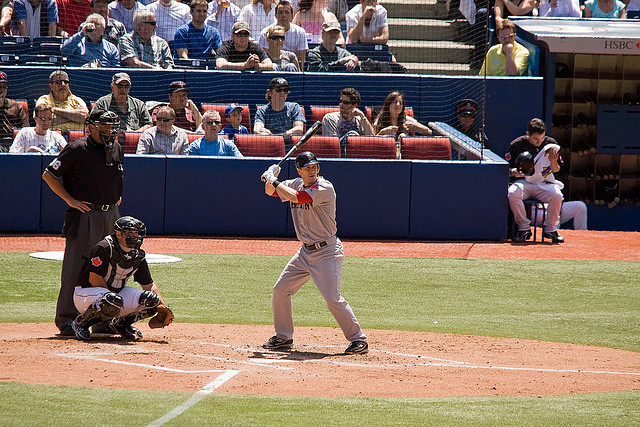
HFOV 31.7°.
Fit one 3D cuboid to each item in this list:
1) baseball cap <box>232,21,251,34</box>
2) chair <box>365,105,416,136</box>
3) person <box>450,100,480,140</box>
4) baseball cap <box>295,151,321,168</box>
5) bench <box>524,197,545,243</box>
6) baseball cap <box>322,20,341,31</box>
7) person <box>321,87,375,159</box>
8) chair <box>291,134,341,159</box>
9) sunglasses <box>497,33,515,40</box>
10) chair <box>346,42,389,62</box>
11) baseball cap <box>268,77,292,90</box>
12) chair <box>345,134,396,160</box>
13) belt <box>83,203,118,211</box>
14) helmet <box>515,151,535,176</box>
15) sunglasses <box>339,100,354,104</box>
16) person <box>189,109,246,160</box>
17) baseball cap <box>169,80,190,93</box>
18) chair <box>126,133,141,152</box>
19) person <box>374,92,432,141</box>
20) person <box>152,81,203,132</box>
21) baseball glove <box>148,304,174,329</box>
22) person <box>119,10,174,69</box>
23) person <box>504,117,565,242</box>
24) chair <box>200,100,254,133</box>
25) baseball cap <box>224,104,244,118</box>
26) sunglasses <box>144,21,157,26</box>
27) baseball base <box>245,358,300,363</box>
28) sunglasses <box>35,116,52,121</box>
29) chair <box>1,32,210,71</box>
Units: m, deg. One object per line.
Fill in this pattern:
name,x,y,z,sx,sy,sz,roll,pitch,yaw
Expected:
baseball cap,-1.554,-3.625,22.014,0.316,0.254,0.406,0,5,-10
chair,1.336,-1.848,21.593,0.928,0.603,0.830,2,-19,0
person,2.725,-1.859,21.988,0.690,0.830,0.748,-2,8,-7
baseball cap,-0.190,-0.716,15.194,0.269,0.201,0.286,0,5,-2
bench,3.886,0.114,20.714,0.493,0.753,0.425,2,2,13
baseball cap,0.212,-3.678,22.091,0.340,0.212,0.402,0,5,-6
person,0.578,-1.543,21.057,0.776,1.425,1.162,-3,2,-35
chair,-0.071,-1.158,19.581,0.867,0.439,0.541,1,-30,-4
sunglasses,3.733,-3.546,22.573,0.287,0.123,0.133,1,5,3
chair,0.975,-3.272,22.777,0.966,0.567,0.379,2,8,-1
baseball cap,-0.776,-2.416,21.059,0.351,0.206,0.291,0,5,-3
chair,0.975,-1.268,21.167,0.896,0.541,0.500,1,2,36
belt,-3.004,-0.088,15.404,0.435,0.109,0.058,-2,6,-32
helmet,3.724,-0.902,20.478,0.329,0.444,0.297,1,5,9
sunglasses,0.469,-2.063,20.873,0.277,0.070,0.099,3,5,27
person,-1.955,-1.389,20.671,1.363,0.866,0.567,-1,-7,-25
baseball cap,-2.667,-2.363,20.883,0.331,0.148,0.232,-14,-3,35
chair,-3.425,-1.295,20.646,0.315,0.258,0.260,2,-4,-11
person,1.516,-1.831,21.439,0.819,0.990,0.597,-18,23,-39
person,-2.608,-1.984,20.984,0.744,0.934,1.746,1,5,11
baseball glove,-2.158,1.393,15.227,0.301,0.339,0.319,0,5,-8
person,-3.368,-3.255,21.941,1.194,1.304,0.964,8,17,2
person,3.913,-0.596,20.600,0.988,2.209,0.528,1,5,4
chair,-1.816,-1.913,21.369,0.723,0.859,0.719,3,-7,-28
baseball cap,-1.622,-1.914,20.951,0.200,0.168,0.317,-19,0,-37
sunglasses,-3.253,-3.669,21.771,0.122,0.090,0.324,3,5,24
baseball base,-0.624,1.937,14.819,0.663,0.031,0.162,0,5,-5
sunglasses,-4.883,-1.682,19.989,0.235,0.078,0.091,-2,5,-24
chair,-4.172,-3.146,21.948,4.049,0.788,1.525,0,5,-5
